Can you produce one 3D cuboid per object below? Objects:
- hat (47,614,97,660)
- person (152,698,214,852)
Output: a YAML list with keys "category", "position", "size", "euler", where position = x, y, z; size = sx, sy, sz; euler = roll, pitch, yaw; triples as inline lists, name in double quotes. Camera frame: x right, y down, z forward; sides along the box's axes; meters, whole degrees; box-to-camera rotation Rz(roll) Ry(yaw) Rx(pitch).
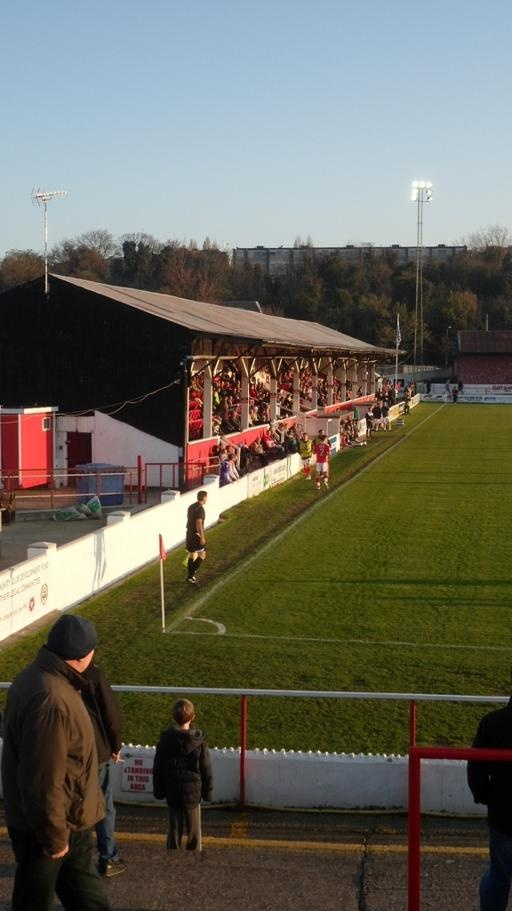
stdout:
- category: "hat"
  position: [-0.925, 0.905, 6.095]
  size: [0.167, 0.164, 0.248]
  euler: [1, 12, -4]
- category: "person"
  position: [-0.454, 2.011, 7.494]
  size: [0.359, 1.153, 0.351]
  euler: [2, 22, -1]
